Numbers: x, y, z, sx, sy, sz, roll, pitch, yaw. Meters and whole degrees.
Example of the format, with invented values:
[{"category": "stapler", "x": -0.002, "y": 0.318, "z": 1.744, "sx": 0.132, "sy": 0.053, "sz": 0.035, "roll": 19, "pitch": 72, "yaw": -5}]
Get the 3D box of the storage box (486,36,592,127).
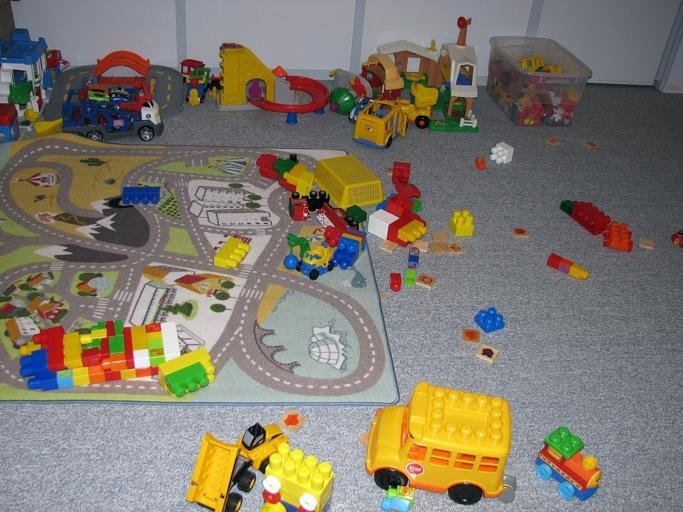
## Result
[{"category": "storage box", "x": 1.757, "y": -1.586, "z": 4.887, "sx": 0.668, "sy": 0.442, "sz": 0.937, "roll": -9, "pitch": 41, "yaw": -11}]
